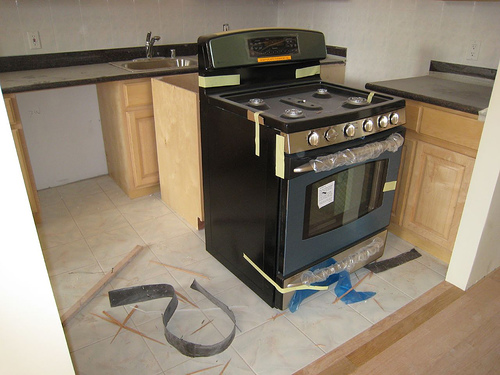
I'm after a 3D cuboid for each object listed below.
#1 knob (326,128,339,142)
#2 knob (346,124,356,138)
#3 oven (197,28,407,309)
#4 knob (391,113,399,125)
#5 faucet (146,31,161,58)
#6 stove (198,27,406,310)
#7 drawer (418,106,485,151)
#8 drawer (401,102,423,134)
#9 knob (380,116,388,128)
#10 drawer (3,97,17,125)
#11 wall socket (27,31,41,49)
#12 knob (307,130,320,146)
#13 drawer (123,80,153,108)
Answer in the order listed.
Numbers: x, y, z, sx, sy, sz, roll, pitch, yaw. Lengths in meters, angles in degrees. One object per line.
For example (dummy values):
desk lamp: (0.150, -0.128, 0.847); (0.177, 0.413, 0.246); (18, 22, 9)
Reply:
knob: (0.411, -0.266, 1.808); (0.080, 0.062, 0.021); (-26, 35, -34)
knob: (0.518, -0.293, 1.853); (0.052, 0.065, 0.038); (-6, 10, -42)
oven: (0.310, -0.184, 2.295); (1.128, 1.433, 1.049); (-10, 28, -21)
knob: (0.822, -0.390, 2.039); (0.069, 0.063, 0.020); (-22, 33, -30)
faucet: (-0.939, -1.356, 3.422); (0.146, 0.234, 0.222); (-11, 29, -13)
stove: (0.296, -0.205, 2.300); (1.119, 1.412, 1.214); (14, 29, 25)
drawer: (1.227, -0.366, 2.205); (0.045, 0.173, 0.361); (-23, 34, -31)
drawer: (1.041, -0.452, 2.299); (0.093, 0.174, 0.180); (-14, 30, -24)
knob: (0.737, -0.362, 1.982); (0.055, 0.055, 0.014); (5, 7, -27)
drawer: (-1.640, -0.515, 2.456); (0.056, 0.183, 0.127); (-20, 33, -28)
wall socket: (-1.792, -1.213, 2.965); (0.091, 0.127, 0.025); (-21, 33, -28)
knob: (0.307, -0.239, 1.740); (0.062, 0.062, 0.016); (-5, 17, -34)
drawer: (-0.940, -0.770, 2.959); (0.277, 0.248, 0.151); (-20, 30, -39)
